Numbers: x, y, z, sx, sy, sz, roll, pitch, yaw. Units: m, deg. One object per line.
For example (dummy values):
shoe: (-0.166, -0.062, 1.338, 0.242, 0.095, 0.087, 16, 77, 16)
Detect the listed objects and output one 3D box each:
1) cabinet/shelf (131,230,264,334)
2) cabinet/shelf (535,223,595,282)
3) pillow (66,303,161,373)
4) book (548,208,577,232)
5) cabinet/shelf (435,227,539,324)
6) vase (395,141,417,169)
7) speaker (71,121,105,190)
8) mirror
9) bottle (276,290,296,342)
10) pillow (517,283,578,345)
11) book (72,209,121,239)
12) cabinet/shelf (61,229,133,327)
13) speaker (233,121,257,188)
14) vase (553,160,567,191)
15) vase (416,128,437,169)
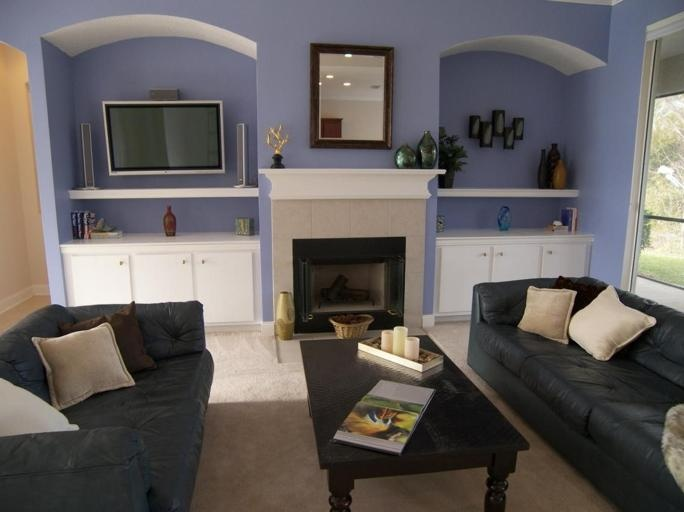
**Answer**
cabinet/shelf: (-1.398, 0.202, 5.151, 1.402, 1.056, 0.813, -1, 7, -5)
cabinet/shelf: (2.476, -0.022, 5.854, 0.694, 0.698, 0.453, -1, 12, -2)
pillow: (-1.440, 0.536, 3.460, 0.456, 0.448, 0.138, -9, -18, -47)
book: (2.612, -0.428, 6.112, 0.137, 0.252, 0.248, -1, 14, -7)
cabinet/shelf: (1.410, 0.208, 5.124, 0.933, 0.697, 0.341, -1, 9, -8)
vase: (0.632, -0.982, 5.062, 0.225, 0.238, 0.230, 5, 14, 30)
speaker: (-2.645, -1.031, 5.288, 0.236, 0.699, 0.351, -5, 10, -25)
mirror: (0.065, -1.604, 5.020, 0.978, 1.217, 0.086, 0, 9, -10)
bottle: (-0.564, 0.584, 5.091, 0.196, 0.484, 0.202, -1, 9, 0)
pillow: (1.591, 0.438, 4.072, 0.204, 0.389, 0.384, -17, 21, -39)
book: (-2.561, -0.312, 5.322, 0.325, 0.214, 0.332, 1, 6, -7)
cabinet/shelf: (-2.277, 0.201, 5.368, 0.778, 1.028, 0.675, -3, 7, -19)
speaker: (-1.018, -1.038, 5.397, 0.191, 0.641, 0.371, -3, 9, -11)
vase: (2.556, -0.964, 6.045, 0.165, 0.341, 0.081, -3, 10, -14)
vase: (0.864, -1.069, 5.174, 0.223, 0.380, 0.182, -2, 9, -5)
